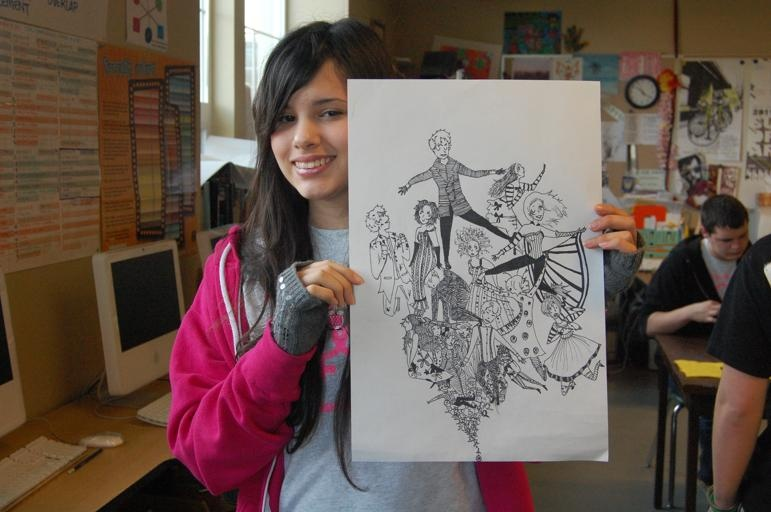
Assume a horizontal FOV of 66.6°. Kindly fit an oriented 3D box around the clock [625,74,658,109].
[{"bbox_3d":[2.160,-1.376,4.945,0.287,0.284,0.288,-18,15,-28],"label":"clock"}]

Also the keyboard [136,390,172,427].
[{"bbox_3d":[-0.877,0.566,2.223,0.148,0.038,0.152,6,17,10],"label":"keyboard"}]

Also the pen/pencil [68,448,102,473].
[{"bbox_3d":[-1.028,0.689,1.997,0.024,0.024,0.166,-2,8,16],"label":"pen/pencil"}]
